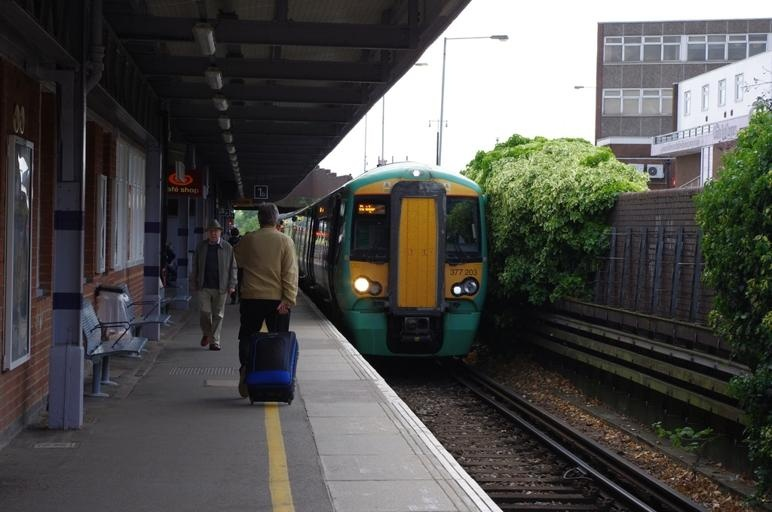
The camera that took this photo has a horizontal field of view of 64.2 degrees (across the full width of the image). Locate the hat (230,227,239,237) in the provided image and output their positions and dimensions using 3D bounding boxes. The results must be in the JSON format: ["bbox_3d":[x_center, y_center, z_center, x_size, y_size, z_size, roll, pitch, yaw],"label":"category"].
[{"bbox_3d":[-4.584,-0.757,18.583,0.317,0.217,0.443,1,-2,-7],"label":"hat"}]

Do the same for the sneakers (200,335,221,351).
[{"bbox_3d":[-3.588,1.752,12.514,0.201,0.278,0.612,1,-3,-31],"label":"sneakers"}]

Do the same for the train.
[{"bbox_3d":[0.605,0.119,14.457,3.311,4.399,1.052,2,3,7],"label":"train"}]

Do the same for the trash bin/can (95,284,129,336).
[{"bbox_3d":[-4.876,0.922,10.966,0.474,0.875,0.491,2,10,-15],"label":"trash bin/can"}]

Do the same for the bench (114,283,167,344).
[{"bbox_3d":[-4.783,1.131,12.047,1.007,1.056,0.796,4,5,-7],"label":"bench"}]

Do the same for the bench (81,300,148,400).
[{"bbox_3d":[-4.350,1.518,9.779,0.839,1.267,1.329,0,4,-11],"label":"bench"}]

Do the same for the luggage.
[{"bbox_3d":[-1.562,1.531,8.450,0.708,1.021,0.599,-3,-29,4],"label":"luggage"}]
